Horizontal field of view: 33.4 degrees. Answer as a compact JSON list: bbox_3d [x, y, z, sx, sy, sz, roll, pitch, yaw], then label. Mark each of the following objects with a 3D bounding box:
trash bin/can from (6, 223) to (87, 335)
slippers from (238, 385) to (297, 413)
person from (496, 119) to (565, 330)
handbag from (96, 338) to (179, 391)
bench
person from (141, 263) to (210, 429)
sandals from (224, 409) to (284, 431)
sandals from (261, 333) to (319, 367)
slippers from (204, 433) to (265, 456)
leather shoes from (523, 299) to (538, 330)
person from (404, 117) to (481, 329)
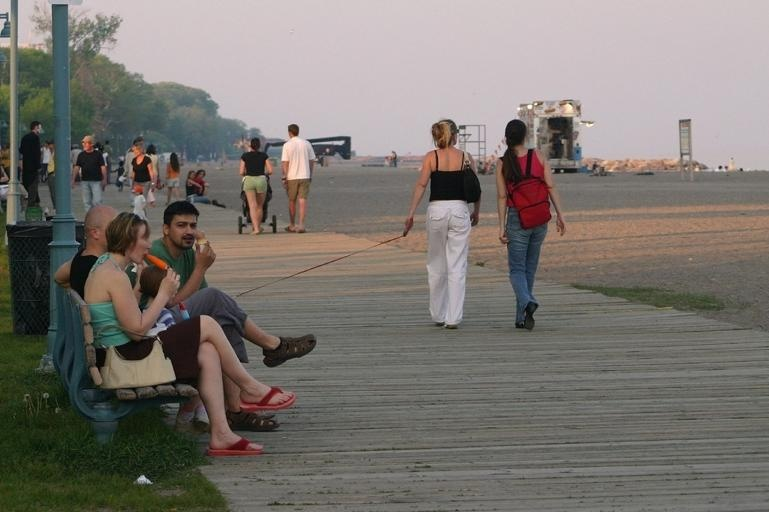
[{"bbox_3d":[-3.663,0.215,14.223,0.779,1.489,0.747,1,-1,20],"label":"trash bin/can"},{"bbox_3d":[-1.046,1.272,11.548,0.402,0.133,0.226,-3,6,2],"label":"slippers"},{"bbox_3d":[1.583,-0.486,14.447,0.877,2.731,1.339,0,1,7],"label":"person"},{"bbox_3d":[-2.111,0.942,10.938,0.869,0.591,0.338,-1,-4,-12],"label":"handbag"},{"bbox_3d":[-2.369,0.811,11.569,1.578,1.244,1.191,-3,8,-26],"label":"bench"},{"bbox_3d":[-1.899,0.798,11.363,0.728,1.423,0.698,3,-1,11],"label":"person"},{"bbox_3d":[-1.187,1.470,11.612,0.500,0.199,0.178,0,6,1],"label":"sandals"},{"bbox_3d":[-0.885,0.848,11.983,0.597,0.223,0.250,-17,-38,7],"label":"sandals"},{"bbox_3d":[-1.289,1.620,11.148,0.447,0.136,0.179,-1,2,-4],"label":"slippers"},{"bbox_3d":[1.606,0.635,14.029,0.125,0.338,0.141,3,-6,-4],"label":"leather shoes"},{"bbox_3d":[0.677,-0.379,14.288,0.752,2.301,0.833,0,7,2],"label":"person"}]
